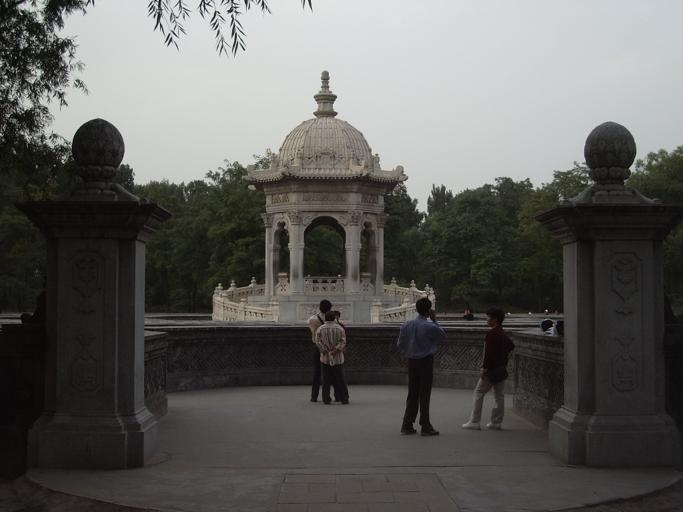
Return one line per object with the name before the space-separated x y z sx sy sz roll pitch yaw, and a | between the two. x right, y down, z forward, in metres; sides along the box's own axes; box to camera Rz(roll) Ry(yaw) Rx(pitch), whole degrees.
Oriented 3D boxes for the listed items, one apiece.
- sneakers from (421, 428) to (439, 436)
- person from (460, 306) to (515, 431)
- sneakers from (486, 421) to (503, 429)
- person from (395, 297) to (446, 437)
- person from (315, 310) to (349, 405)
sneakers | 1.297 2.566 11.575 0.347 0.097 0.150 2 -3 -29
person | 2.295 1.726 12.252 0.671 1.839 0.727 0 -3 12
sneakers | 2.334 2.580 12.074 0.237 0.098 0.223 1 -3 -1
person | 1.175 1.627 11.819 0.681 1.993 0.571 0 -3 11
person | -0.186 1.860 14.673 0.628 1.682 0.586 1 -3 -2
